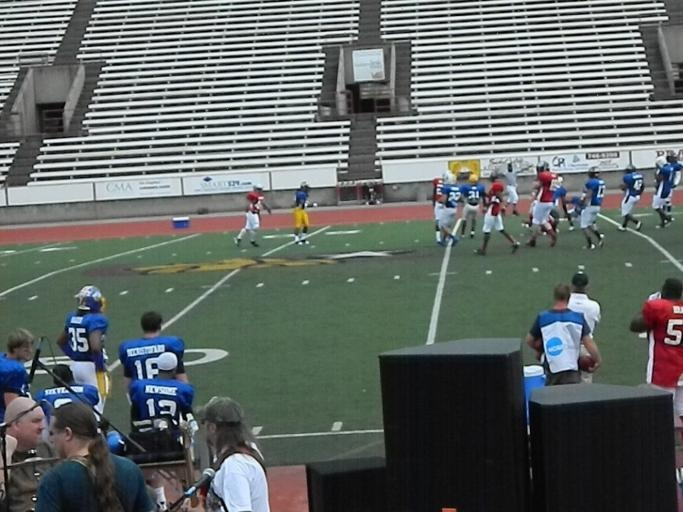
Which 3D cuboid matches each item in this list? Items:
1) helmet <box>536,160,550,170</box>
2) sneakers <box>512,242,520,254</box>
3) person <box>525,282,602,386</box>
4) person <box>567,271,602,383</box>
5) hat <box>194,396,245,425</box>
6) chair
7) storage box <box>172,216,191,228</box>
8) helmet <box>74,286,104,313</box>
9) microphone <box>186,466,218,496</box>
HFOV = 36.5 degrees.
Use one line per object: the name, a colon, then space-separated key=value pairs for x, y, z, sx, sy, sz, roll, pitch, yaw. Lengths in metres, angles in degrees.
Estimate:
helmet: x=3.982 y=-1.781 z=20.347 sx=0.197 sy=0.190 sz=0.322 roll=-1 pitch=-4 yaw=2
sneakers: x=3.376 y=-0.157 z=20.035 sx=0.098 sy=0.232 sz=0.075 roll=45 pitch=-42 yaw=-18
person: x=2.547 y=0.892 z=11.877 sx=0.796 sy=1.144 sz=0.267 roll=-2 pitch=-4 yaw=12
person: x=3.008 y=0.839 z=12.820 sx=0.513 sy=0.494 sz=1.725 roll=14 pitch=-43 yaw=28
hat: x=-1.177 y=1.477 z=9.914 sx=0.476 sy=0.248 sz=0.230 roll=-2 pitch=-4 yaw=10
chair: x=-1.754 y=2.078 z=10.356 sx=0.559 sy=0.841 sz=0.847 roll=1 pitch=-5 yaw=-30
storage box: x=-4.414 y=-0.924 z=28.518 sx=0.383 sy=0.271 sz=0.300 roll=0 pitch=6 yaw=-7
helmet: x=-3.040 y=0.530 z=12.541 sx=0.254 sy=0.327 sz=0.349 roll=-9 pitch=-26 yaw=34
microphone: x=-1.350 y=2.178 z=9.755 sx=0.154 sy=0.161 sz=0.502 roll=30 pitch=-32 yaw=8
